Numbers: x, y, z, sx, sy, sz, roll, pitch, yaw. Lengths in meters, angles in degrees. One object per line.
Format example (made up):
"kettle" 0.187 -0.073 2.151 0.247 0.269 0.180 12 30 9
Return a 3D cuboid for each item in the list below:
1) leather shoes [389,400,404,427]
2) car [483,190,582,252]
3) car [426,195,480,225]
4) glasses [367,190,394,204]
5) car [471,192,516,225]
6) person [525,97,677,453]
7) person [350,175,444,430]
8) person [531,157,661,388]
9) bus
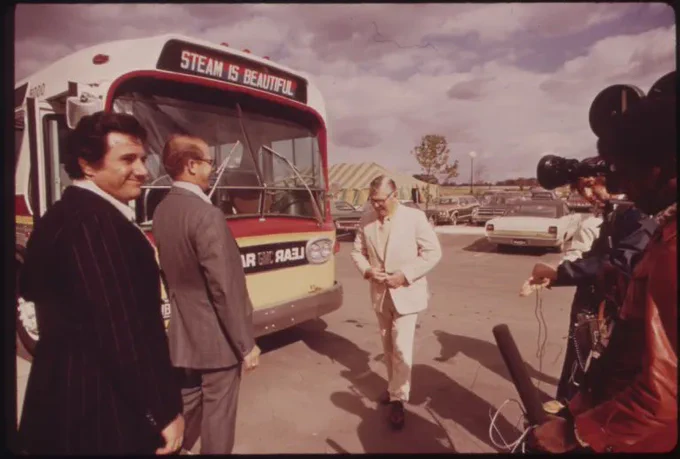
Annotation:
"leather shoes" 0.538 1.769 4.677 0.093 0.125 0.276 -1 -7 5
"car" 5.591 -0.328 13.612 1.407 0.954 3.109 -1 4 34
"car" 4.893 -0.852 21.923 1.233 0.763 2.852 -1 7 30
"glasses" 0.396 -0.311 4.929 0.267 0.122 0.179 2 9 18
"car" 6.533 -1.025 20.609 1.135 0.869 2.562 -12 9 43
"person" 1.770 0.336 3.126 0.710 2.323 0.520 3 9 24
"person" 0.604 0.635 4.975 0.653 2.324 0.920 -4 9 -22
"person" 2.136 0.602 4.359 0.894 2.491 0.840 8 21 25
"bus" -2.995 -0.529 7.441 3.535 3.742 6.019 -3 5 -42
